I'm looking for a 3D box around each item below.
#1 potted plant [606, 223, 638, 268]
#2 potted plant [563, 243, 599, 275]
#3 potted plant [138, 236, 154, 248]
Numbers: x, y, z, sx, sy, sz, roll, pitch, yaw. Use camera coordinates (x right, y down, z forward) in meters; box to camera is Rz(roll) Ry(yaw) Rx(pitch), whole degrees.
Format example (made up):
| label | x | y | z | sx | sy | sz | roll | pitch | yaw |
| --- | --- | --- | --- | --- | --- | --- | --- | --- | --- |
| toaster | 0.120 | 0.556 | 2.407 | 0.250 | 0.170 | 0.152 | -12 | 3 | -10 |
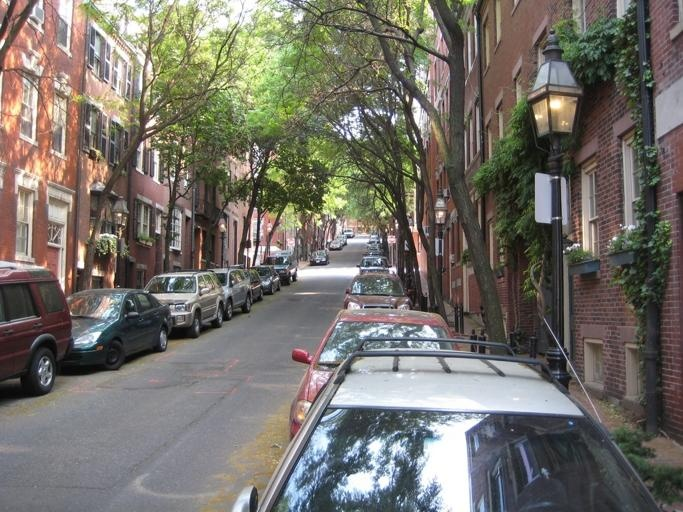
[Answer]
| label | x | y | z | sx | sy | sz | roll | pitch | yaw |
| --- | --- | --- | --- | --- | --- | --- | --- | --- | --- |
| potted plant | 4.659 | -0.142 | 9.518 | 0.280 | 0.692 | 1.005 | 0 | 1 | 8 |
| potted plant | 4.855 | 0.035 | 11.859 | 0.267 | 0.538 | 0.686 | -18 | 3 | -4 |
| potted plant | -10.009 | -0.731 | 29.722 | 0.563 | 0.533 | 1.809 | -1 | 1 | -11 |
